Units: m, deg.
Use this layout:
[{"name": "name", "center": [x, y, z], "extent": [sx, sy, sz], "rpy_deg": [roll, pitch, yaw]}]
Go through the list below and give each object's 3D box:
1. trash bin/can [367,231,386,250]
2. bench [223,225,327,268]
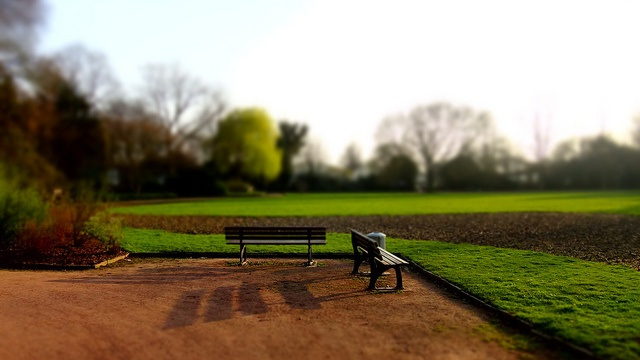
[{"name": "trash bin/can", "center": [2.282, 2.377, 21.919], "extent": [0.706, 0.754, 0.692], "rpy_deg": [2, -4, -37]}, {"name": "bench", "center": [-1.854, 2.675, 22.412], "extent": [3.988, 1.559, 0.756], "rpy_deg": [0, -3, 0]}]
